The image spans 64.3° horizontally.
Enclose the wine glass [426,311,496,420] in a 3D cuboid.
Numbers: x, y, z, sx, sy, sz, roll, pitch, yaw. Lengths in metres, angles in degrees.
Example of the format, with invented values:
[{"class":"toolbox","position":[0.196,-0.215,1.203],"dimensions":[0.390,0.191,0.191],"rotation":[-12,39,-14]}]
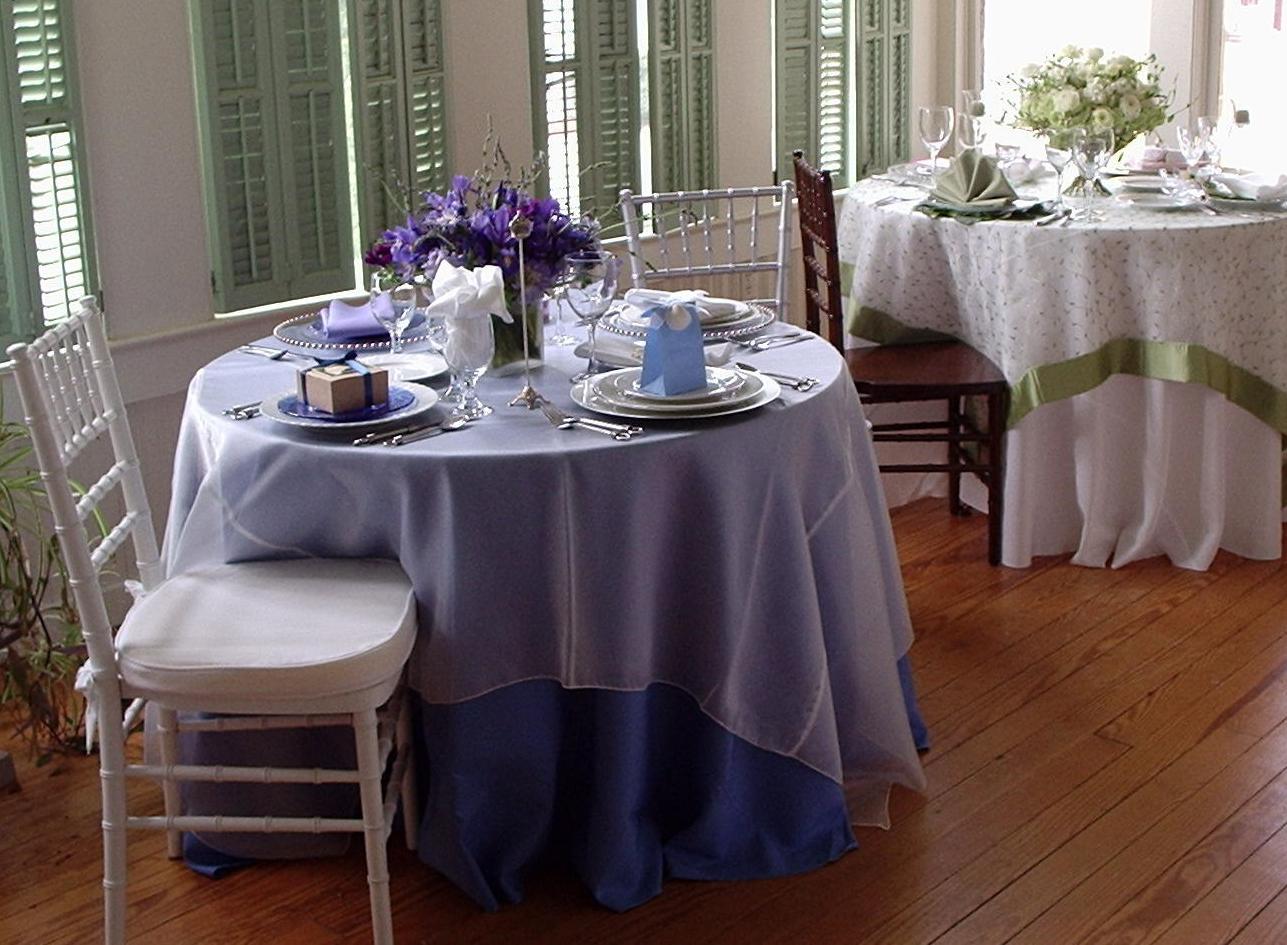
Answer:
[{"class":"wine glass","position":[-0.368,-0.223,2.038],"dimensions":[0.116,0.225,0.090],"rotation":[6,17,34]}]

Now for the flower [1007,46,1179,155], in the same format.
[{"class":"flower","position":[1.588,-1.288,3.487],"dimensions":[0.355,0.363,0.400],"rotation":[6,2,20]}]

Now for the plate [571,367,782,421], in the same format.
[{"class":"plate","position":[0.068,-0.165,2.089],"dimensions":[0.435,0.074,0.289],"rotation":[-5,15,4]}]

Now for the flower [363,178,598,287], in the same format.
[{"class":"flower","position":[-0.347,-0.513,2.194],"dimensions":[0.508,0.245,0.259],"rotation":[1,16,22]}]

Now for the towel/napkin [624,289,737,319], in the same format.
[{"class":"towel/napkin","position":[0.076,-0.410,2.415],"dimensions":[0.164,0.035,0.184],"rotation":[3,14,11]}]

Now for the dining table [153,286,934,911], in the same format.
[{"class":"dining table","position":[0.067,-0.008,2.404],"dimensions":[1.030,0.632,1.044],"rotation":[-26,34,-36]}]

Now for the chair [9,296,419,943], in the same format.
[{"class":"chair","position":[-0.885,0.299,2.034],"dimensions":[0.944,1.256,0.601],"rotation":[5,17,33]}]
